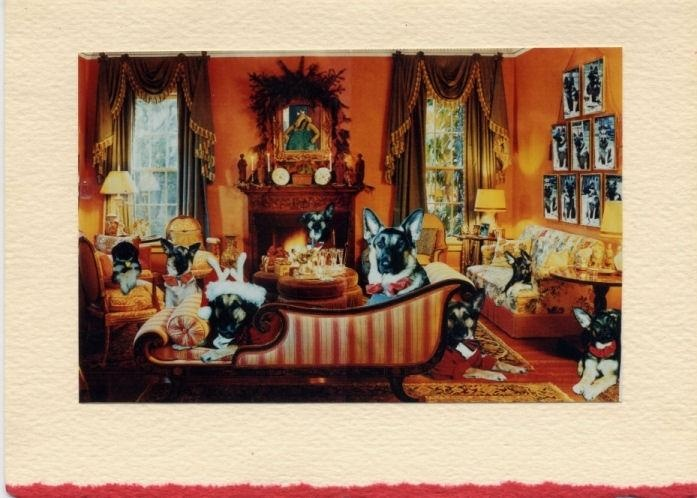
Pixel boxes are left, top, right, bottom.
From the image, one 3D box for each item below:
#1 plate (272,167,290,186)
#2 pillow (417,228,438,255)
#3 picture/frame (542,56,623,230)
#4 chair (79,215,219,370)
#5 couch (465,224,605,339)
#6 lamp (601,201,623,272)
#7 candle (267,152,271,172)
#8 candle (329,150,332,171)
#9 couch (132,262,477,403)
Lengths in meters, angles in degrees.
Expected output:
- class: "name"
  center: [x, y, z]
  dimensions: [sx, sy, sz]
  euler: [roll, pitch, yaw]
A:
- class: "plate"
  center: [-0.427, -0.456, 4.471]
  dimensions: [0.116, 0.116, 0.020]
  euler: [0, 5, -9]
- class: "pillow"
  center: [0.495, -0.047, 4.501]
  dimensions: [0.137, 0.159, 0.045]
  euler: [12, -7, -7]
- class: "picture/frame"
  center: [1.478, -0.651, 4.454]
  dimensions: [0.468, 1.025, 0.272]
  euler: [3, 5, 19]
- class: "chair"
  center: [-1.252, 0.228, 4.801]
  dimensions: [0.811, 1.280, 0.908]
  euler: [-1, 5, -10]
- class: "couch"
  center: [1.232, 0.176, 4.834]
  dimensions: [0.655, 0.603, 0.878]
  euler: [0, 11, -8]
- class: "lamp"
  center: [1.636, -0.080, 4.397]
  dimensions: [0.046, 0.433, 0.171]
  euler: [-2, 6, -28]
- class: "candle"
  center: [-0.501, -0.545, 4.456]
  dimensions: [0.035, 0.115, 0.013]
  euler: [0, 5, -8]
- class: "candle"
  center: [-0.108, -0.549, 4.455]
  dimensions: [0.023, 0.106, 0.002]
  euler: [0, 5, -9]
- class: "couch"
  center: [-0.273, 0.485, 4.733]
  dimensions: [1.686, 0.766, 0.890]
  euler: [2, -4, -1]
